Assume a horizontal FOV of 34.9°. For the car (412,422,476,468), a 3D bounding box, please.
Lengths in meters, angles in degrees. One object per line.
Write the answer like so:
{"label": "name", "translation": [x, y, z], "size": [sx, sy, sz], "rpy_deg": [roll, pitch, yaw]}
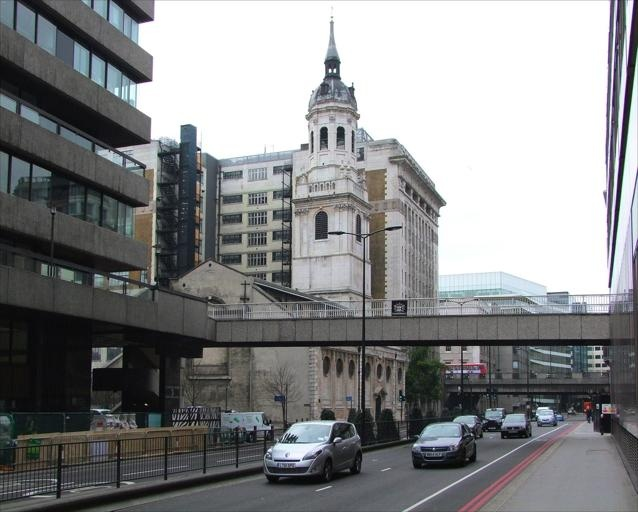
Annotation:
{"label": "car", "translation": [5.295, 8.054, 43.812], "size": [2.435, 2.068, 2.830], "rpy_deg": [-6, -15, 10]}

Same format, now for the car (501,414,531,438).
{"label": "car", "translation": [12.712, 10.901, 65.692], "size": [1.500, 1.669, 2.500], "rpy_deg": [-9, -16, 22]}

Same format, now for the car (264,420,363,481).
{"label": "car", "translation": [-0.175, 7.611, 39.938], "size": [2.020, 2.444, 4.341], "rpy_deg": [-13, -18, 35]}
